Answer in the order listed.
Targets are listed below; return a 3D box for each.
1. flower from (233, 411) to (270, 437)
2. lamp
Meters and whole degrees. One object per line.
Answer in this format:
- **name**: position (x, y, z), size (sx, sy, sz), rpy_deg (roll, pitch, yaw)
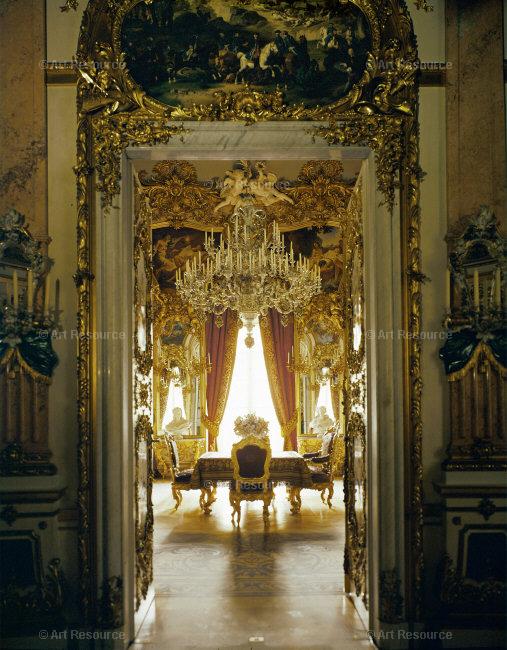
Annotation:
- **flower**: position (-0.004, 1.057, 12.238), size (0.301, 0.235, 0.298), rpy_deg (4, 7, 33)
- **lamp**: position (-0.031, -0.563, 11.614), size (1.523, 1.517, 1.524), rpy_deg (-7, 9, -44)
